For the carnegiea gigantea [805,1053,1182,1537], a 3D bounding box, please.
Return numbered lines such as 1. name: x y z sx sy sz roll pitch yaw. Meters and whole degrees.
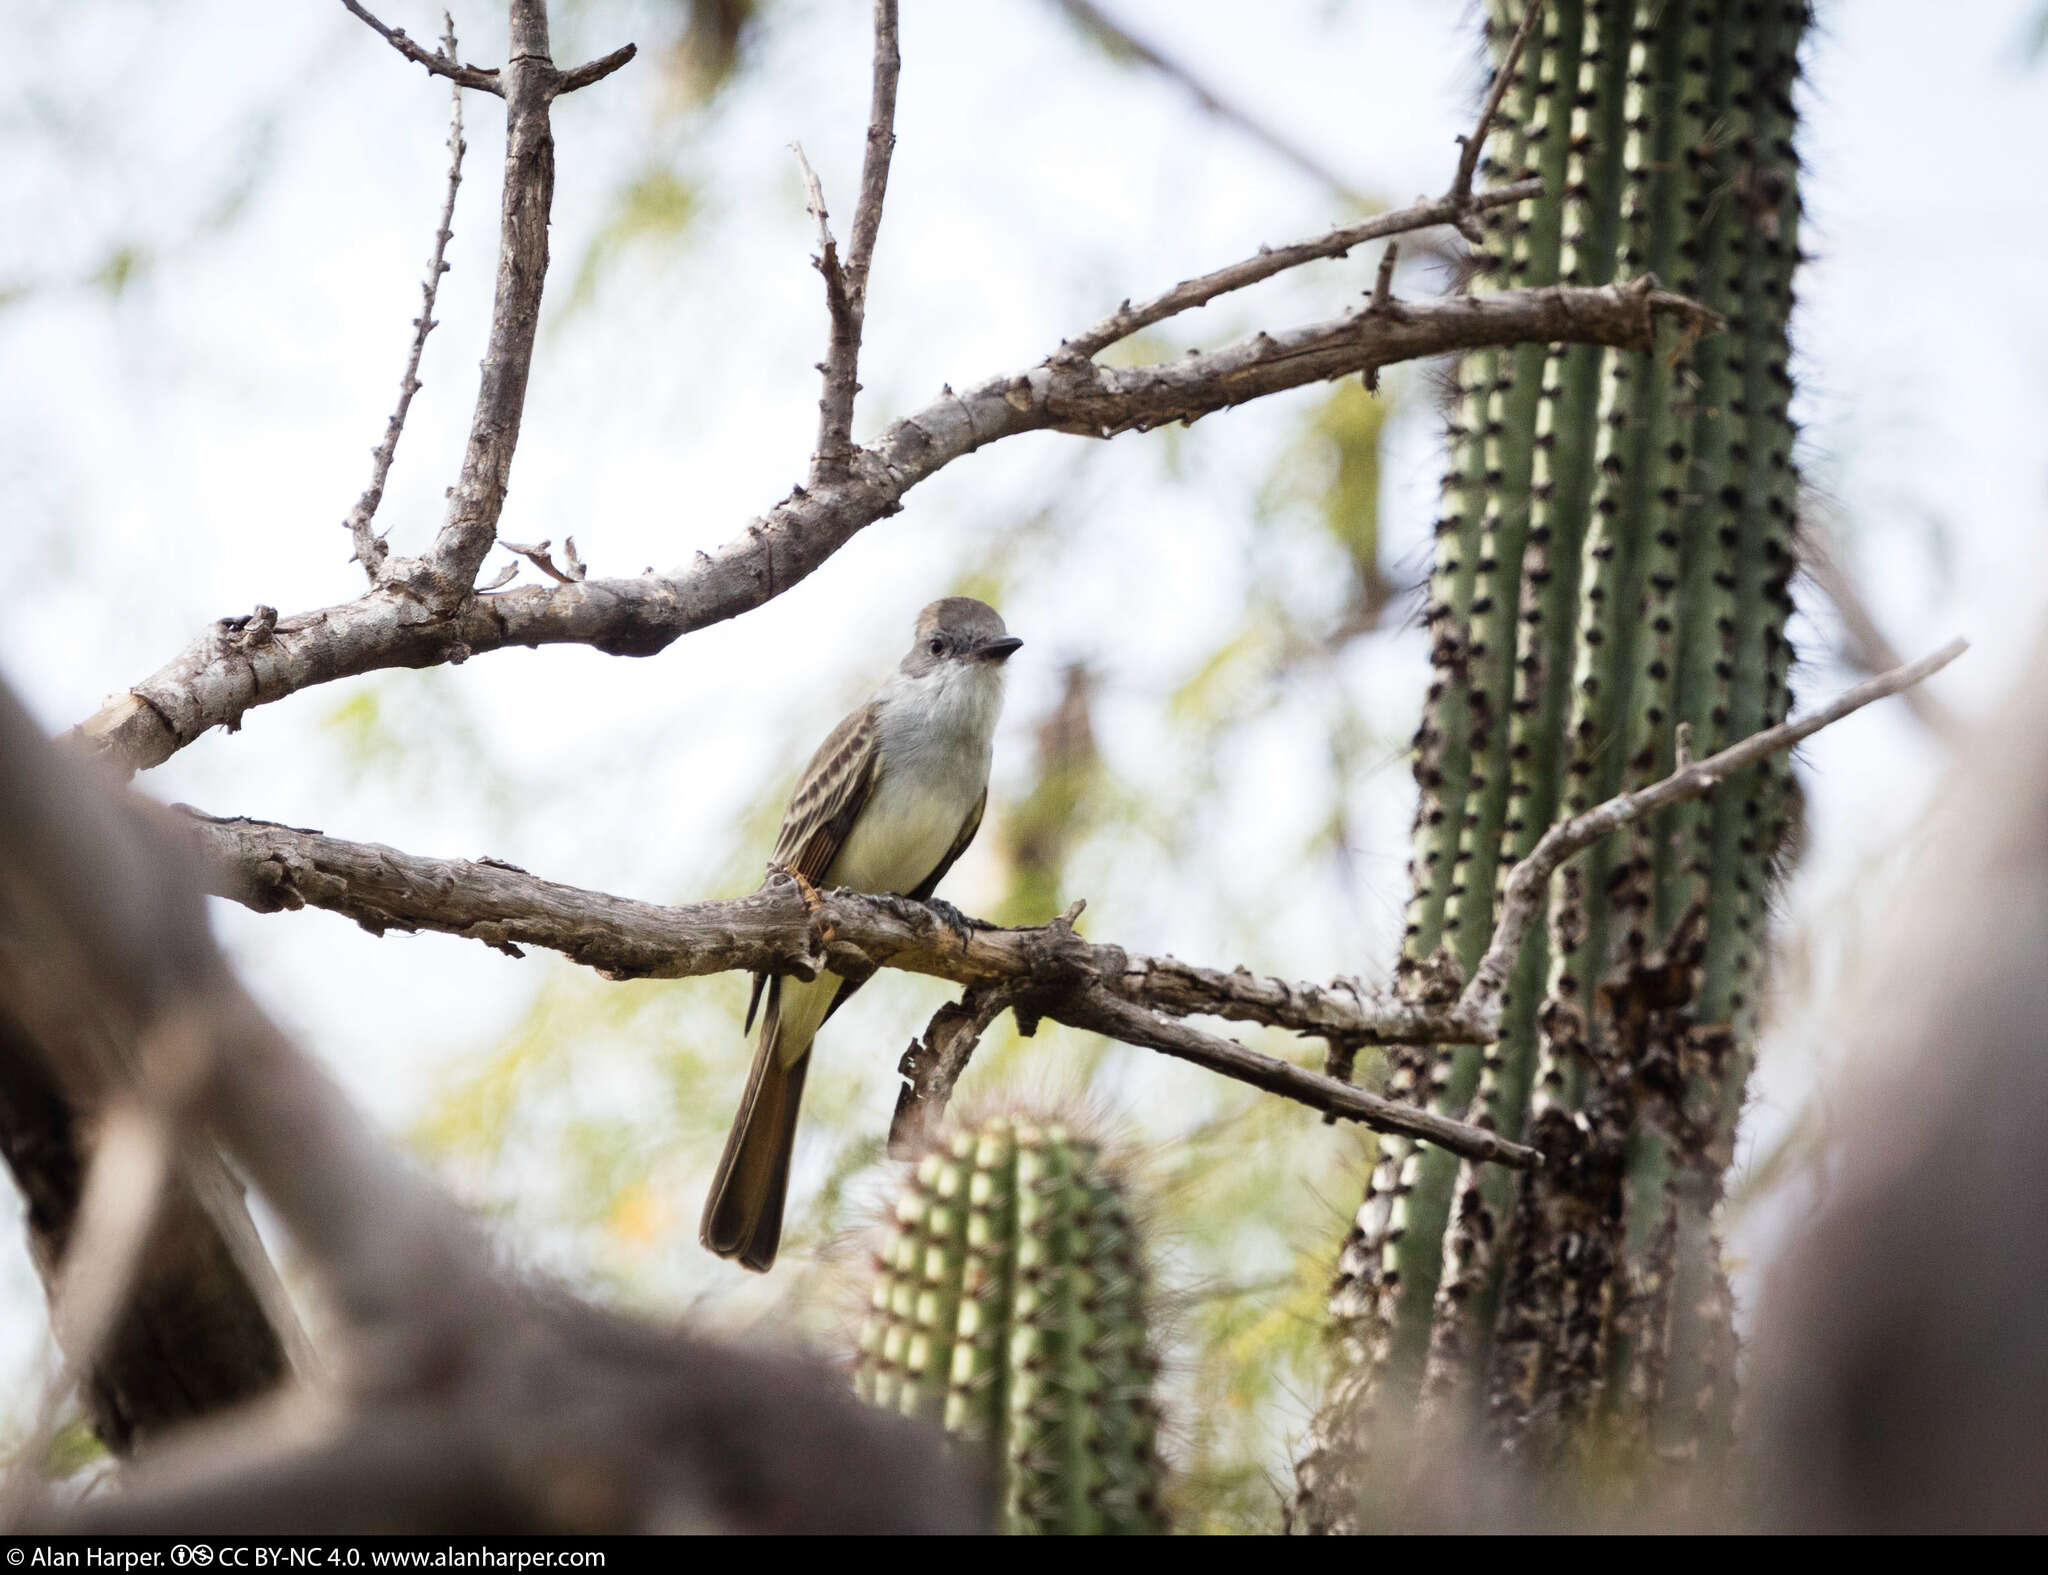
1. carnegiea gigantea: -0.094 0.678 3.994 0.305 0.298 0.544 10 -66 7
